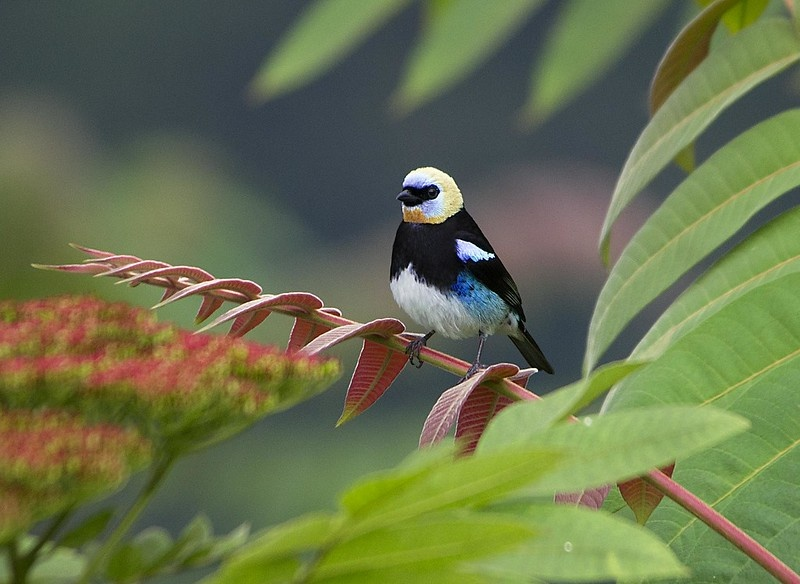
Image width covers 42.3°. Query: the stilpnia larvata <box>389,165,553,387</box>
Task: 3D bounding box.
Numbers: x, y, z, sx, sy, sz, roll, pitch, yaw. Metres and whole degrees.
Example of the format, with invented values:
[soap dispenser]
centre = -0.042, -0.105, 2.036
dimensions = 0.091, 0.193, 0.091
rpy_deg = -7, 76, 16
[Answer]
[stilpnia larvata]
centre = 0.128, -0.042, 1.594
dimensions = 0.163, 0.285, 0.302
rpy_deg = -21, -24, 38
